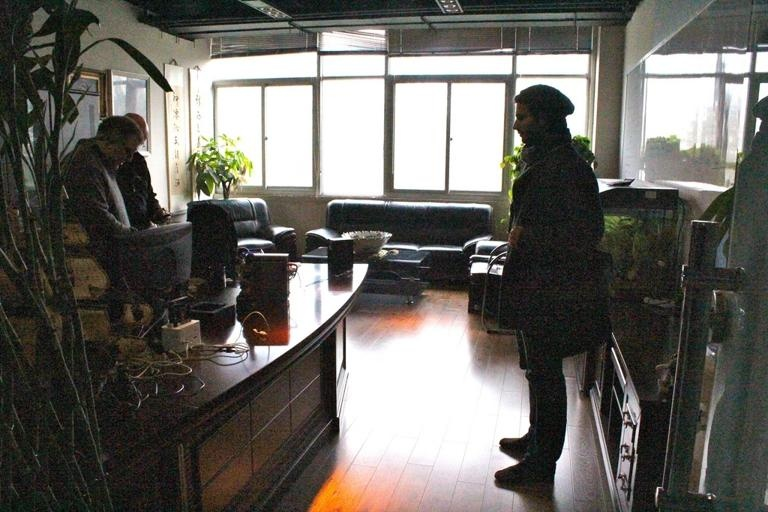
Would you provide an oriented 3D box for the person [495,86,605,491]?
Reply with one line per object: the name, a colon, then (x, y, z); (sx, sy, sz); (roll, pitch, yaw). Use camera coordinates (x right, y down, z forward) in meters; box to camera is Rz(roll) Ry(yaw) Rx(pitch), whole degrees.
person: (0.590, 0.196, 2.122); (0.363, 1.501, 0.391); (2, 11, 10)
